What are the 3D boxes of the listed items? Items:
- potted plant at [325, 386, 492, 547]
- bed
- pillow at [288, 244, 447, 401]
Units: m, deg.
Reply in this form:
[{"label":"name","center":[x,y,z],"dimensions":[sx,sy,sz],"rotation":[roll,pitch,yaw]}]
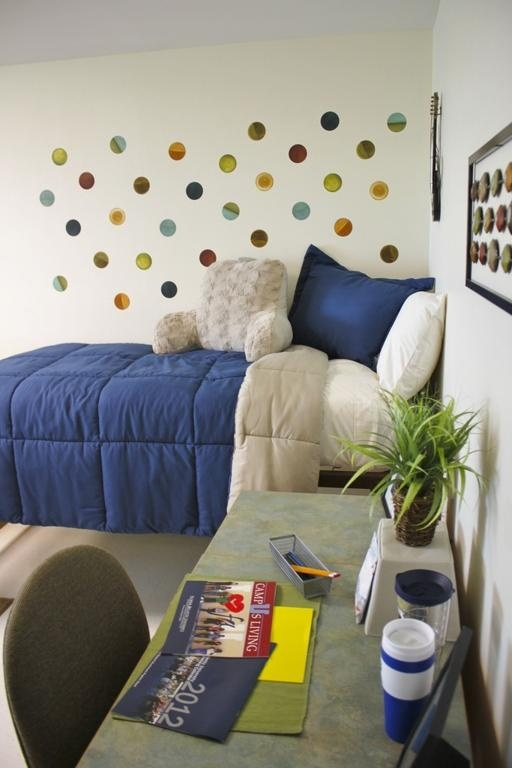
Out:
[{"label":"potted plant","center":[0.265,0.156,0.996],"dimensions":[0.192,0.182,0.225],"rotation":[15,-16,-7]},{"label":"bed","center":[0.075,0.073,2.285],"dimensions":[1.088,0.334,0.705],"rotation":[2,19,8]},{"label":"pillow","center":[0.573,-0.268,3.057],"dimensions":[0.205,0.610,0.672],"rotation":[26,-6,-35]}]
